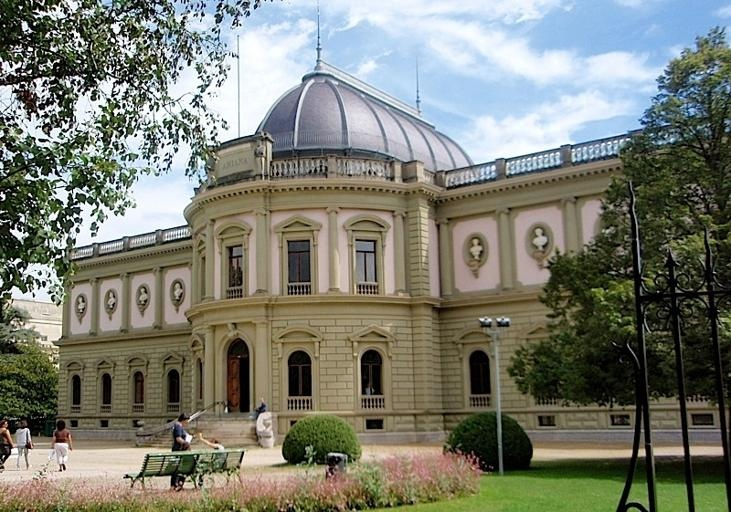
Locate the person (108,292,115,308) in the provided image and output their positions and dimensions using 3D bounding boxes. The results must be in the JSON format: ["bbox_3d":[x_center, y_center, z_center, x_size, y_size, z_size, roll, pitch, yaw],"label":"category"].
[{"bbox_3d":[-16.398,2.820,56.533,0.534,1.084,0.161,-7,-14,21],"label":"person"}]

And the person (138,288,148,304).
[{"bbox_3d":[-14.021,2.502,55.086,0.681,0.897,0.484,-16,-27,34],"label":"person"}]

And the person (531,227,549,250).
[{"bbox_3d":[8.418,-0.835,42.247,0.805,1.244,0.291,-12,-16,36],"label":"person"}]

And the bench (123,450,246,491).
[{"bbox_3d":[-4.870,5.737,23.725,2.513,0.965,2.601,-6,-14,16],"label":"bench"}]

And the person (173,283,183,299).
[{"bbox_3d":[-11.444,2.128,53.387,0.815,1.022,0.392,-7,-15,33],"label":"person"}]
